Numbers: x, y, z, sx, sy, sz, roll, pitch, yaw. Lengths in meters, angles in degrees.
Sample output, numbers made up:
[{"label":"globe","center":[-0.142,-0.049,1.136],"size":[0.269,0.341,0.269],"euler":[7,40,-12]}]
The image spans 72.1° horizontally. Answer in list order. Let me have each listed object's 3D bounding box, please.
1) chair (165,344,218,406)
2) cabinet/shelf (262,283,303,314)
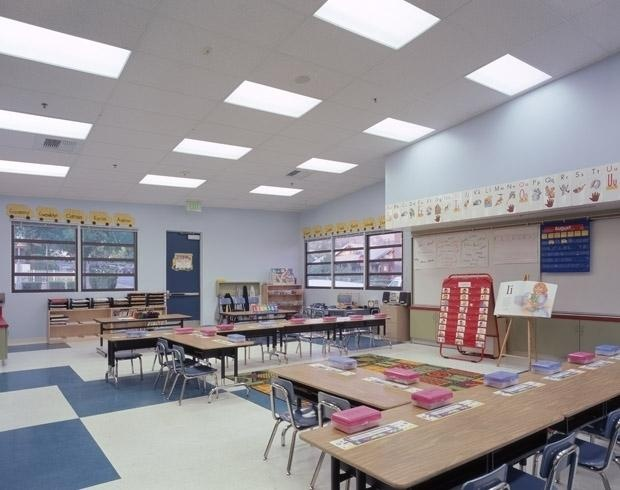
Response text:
[{"label":"chair","center":[-1.742,1.955,6.827],"size":[0.882,1.100,0.774],"euler":[1,-1,-31]},{"label":"cabinet/shelf","center":[-0.973,1.815,14.316],"size":[1.094,1.068,0.353],"euler":[2,-4,-28]}]
